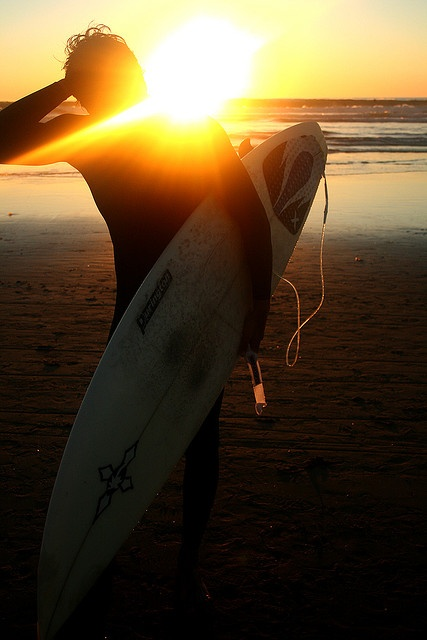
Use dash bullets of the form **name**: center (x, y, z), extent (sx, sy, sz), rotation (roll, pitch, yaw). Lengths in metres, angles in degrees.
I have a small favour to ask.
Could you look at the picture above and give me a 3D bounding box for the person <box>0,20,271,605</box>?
- **person**: center (-0.265, 0.077, 1.837), extent (0.801, 1.688, 0.459), rotation (7, 15, 5)
